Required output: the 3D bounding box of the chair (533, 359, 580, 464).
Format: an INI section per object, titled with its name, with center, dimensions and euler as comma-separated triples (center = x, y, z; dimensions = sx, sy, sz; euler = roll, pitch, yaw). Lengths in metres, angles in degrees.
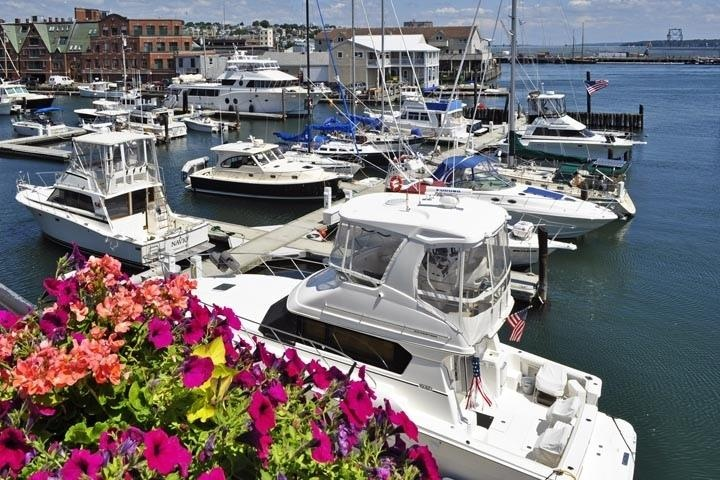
[chair]
center = 2.772, 2.452, 8.676
dimensions = 0.324, 0.318, 0.943
euler = 17, 36, 17
